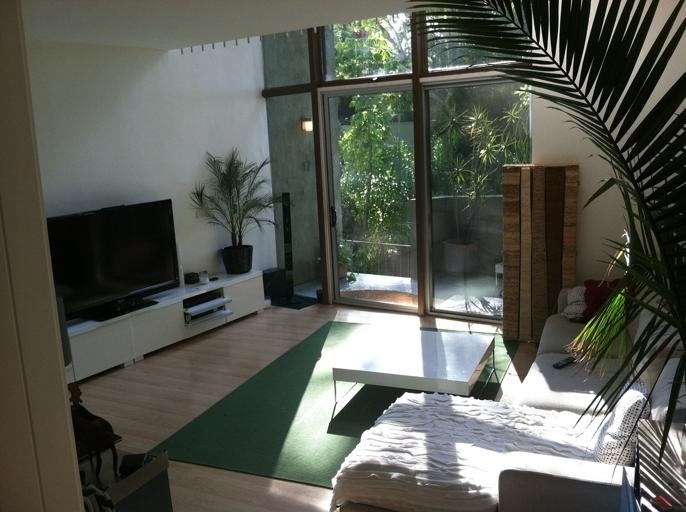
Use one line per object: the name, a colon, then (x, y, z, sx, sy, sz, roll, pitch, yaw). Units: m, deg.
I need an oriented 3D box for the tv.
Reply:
tv: (-2.277, 0.039, 5.085, 0.280, 0.832, 1.085, 5, 18, 31)

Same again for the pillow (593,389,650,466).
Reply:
pillow: (1.434, 0.864, 2.705, 0.214, 0.401, 0.453, -3, 4, 26)

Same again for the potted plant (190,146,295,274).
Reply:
potted plant: (-1.385, -0.722, 6.853, 1.337, 1.979, 1.287, 8, 17, 32)

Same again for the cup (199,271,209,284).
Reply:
cup: (-1.673, 0.268, 6.305, 0.134, 0.156, 0.092, 0, 2, 2)
